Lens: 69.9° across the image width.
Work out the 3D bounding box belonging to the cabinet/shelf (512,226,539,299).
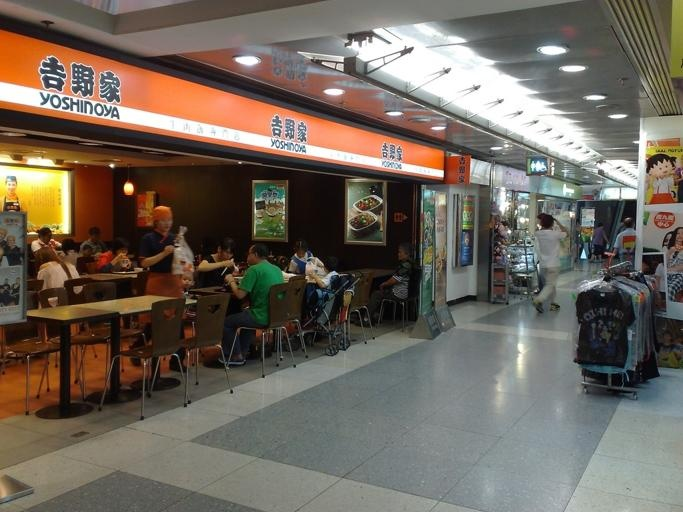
[{"bbox_3d":[5.150,0.267,13.861,0.766,1.969,2.026,-1,0,24],"label":"cabinet/shelf"}]

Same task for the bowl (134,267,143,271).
[{"bbox_3d":[-3.680,0.252,8.920,0.109,0.040,0.110,-2,-7,0],"label":"bowl"}]

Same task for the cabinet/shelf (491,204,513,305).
[{"bbox_3d":[4.009,0.028,12.514,0.494,2.309,0.784,2,5,17],"label":"cabinet/shelf"}]

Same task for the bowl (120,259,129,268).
[{"bbox_3d":[-3.929,0.141,8.945,0.131,0.134,0.127,1,10,0],"label":"bowl"}]

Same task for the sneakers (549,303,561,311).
[{"bbox_3d":[5.074,1.226,11.699,0.117,0.147,0.318,6,8,39],"label":"sneakers"}]

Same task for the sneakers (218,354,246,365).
[{"bbox_3d":[-1.460,1.419,6.722,0.442,0.161,0.164,10,-11,-23],"label":"sneakers"}]

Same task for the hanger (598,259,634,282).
[{"bbox_3d":[4.104,0.210,7.340,0.652,0.239,0.359,4,-6,-39],"label":"hanger"}]
